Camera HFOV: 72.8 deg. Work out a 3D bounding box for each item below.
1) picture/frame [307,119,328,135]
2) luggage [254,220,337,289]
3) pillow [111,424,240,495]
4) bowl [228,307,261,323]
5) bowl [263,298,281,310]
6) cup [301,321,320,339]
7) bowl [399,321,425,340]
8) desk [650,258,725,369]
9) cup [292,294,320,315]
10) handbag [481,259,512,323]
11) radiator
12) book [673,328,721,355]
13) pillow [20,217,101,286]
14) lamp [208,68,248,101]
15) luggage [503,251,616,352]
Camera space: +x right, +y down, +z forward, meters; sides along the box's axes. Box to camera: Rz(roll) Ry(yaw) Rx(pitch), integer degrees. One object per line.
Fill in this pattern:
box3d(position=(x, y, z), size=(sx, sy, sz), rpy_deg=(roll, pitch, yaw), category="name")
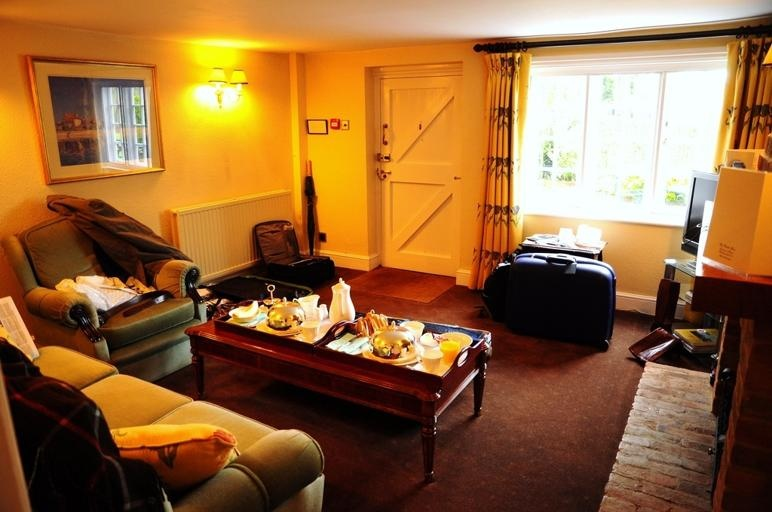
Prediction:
box3d(position=(-0.866, -1.628, 6.617), size=(0.238, 0.152, 0.010), rpy_deg=(12, 33, 23), category="picture/frame")
box3d(position=(-1.097, -0.024, 6.210), size=(0.678, 0.613, 0.825), rpy_deg=(-11, 20, -43), category="luggage")
box3d(position=(-0.967, 1.054, 2.549), size=(0.672, 0.230, 0.293), rpy_deg=(2, 35, 5), category="pillow")
box3d(position=(-1.088, 0.438, 3.969), size=(0.153, 0.063, 0.150), rpy_deg=(-1, 12, 0), category="bowl")
box3d(position=(-0.871, 0.359, 3.999), size=(0.135, 0.041, 0.134), rpy_deg=(-1, 9, 0), category="bowl")
box3d(position=(-0.528, 0.524, 3.650), size=(0.100, 0.083, 0.114), rpy_deg=(-1, -2, -13), category="cup")
box3d(position=(0.166, 0.524, 3.693), size=(0.135, 0.086, 0.124), rpy_deg=(0, 7, 0), category="bowl")
box3d(position=(2.306, 0.491, 4.034), size=(0.340, 0.806, 0.931), rpy_deg=(4, 4, 13), category="desk")
box3d(position=(-0.605, 0.368, 3.959), size=(0.175, 0.118, 0.147), rpy_deg=(1, 8, 33), category="cup")
box3d(position=(1.066, 0.362, 5.224), size=(0.197, 0.510, 0.383), rpy_deg=(11, 10, 11), category="handbag")
box3d(position=(-1.778, -0.184, 5.876), size=(0.123, 0.619, 1.116), rpy_deg=(7, 16, 31), category="radiator")
box3d(position=(2.734, 0.752, 4.579), size=(0.274, 0.059, 0.255), rpy_deg=(-1, 21, 0), category="book")
box3d(position=(-2.740, -0.028, 4.386), size=(0.170, 0.525, 0.553), rpy_deg=(-17, 7, 31), category="pillow")
box3d(position=(-1.741, -1.882, 5.820), size=(0.471, 0.373, 0.277), rpy_deg=(-12, 20, -34), category="lamp")
box3d(position=(1.632, 0.386, 5.000), size=(1.021, 0.752, 0.523), rpy_deg=(8, 10, 17), category="luggage")
